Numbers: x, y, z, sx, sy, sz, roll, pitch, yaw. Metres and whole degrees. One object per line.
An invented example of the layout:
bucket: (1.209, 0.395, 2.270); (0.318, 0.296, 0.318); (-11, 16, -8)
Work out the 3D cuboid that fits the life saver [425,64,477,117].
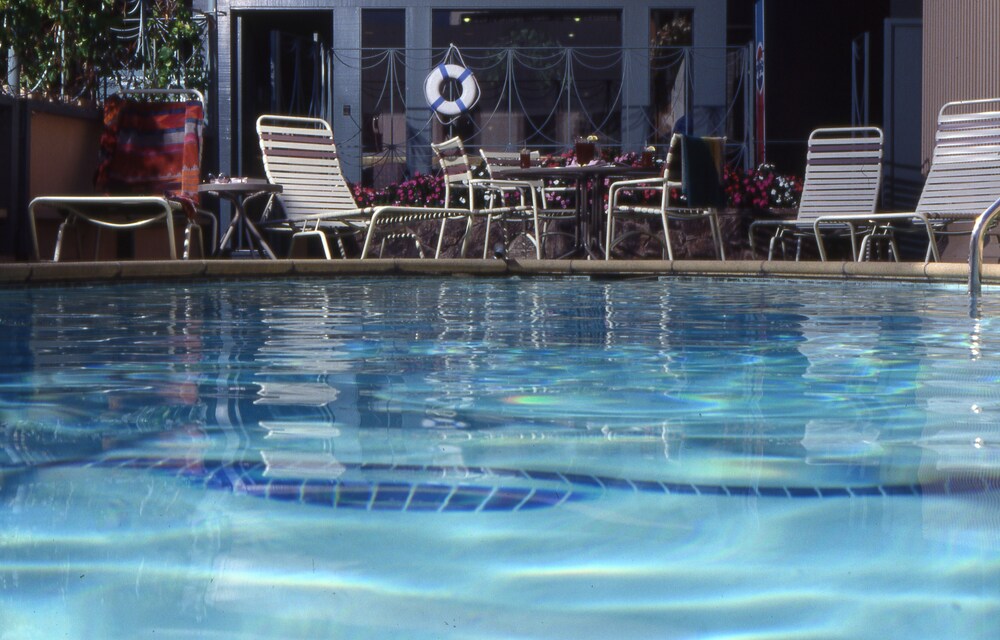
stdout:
life saver: (-0.632, -2.773, 15.065); (0.788, 0.793, 0.150); (16, 26, 24)
